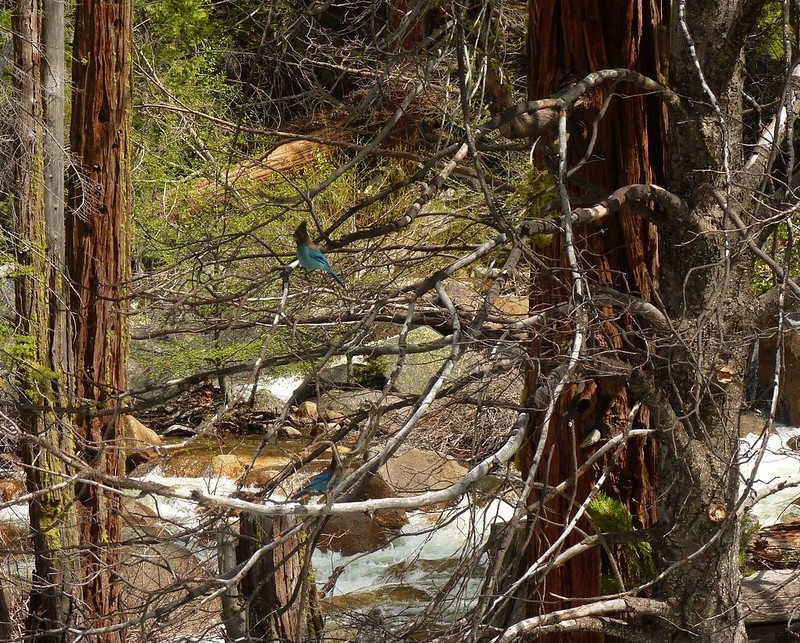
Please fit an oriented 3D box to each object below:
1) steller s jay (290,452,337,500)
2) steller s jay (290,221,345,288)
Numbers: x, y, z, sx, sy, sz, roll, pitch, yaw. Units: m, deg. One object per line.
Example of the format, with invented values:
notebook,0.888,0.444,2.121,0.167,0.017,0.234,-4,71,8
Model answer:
steller s jay,-0.504,0.959,7.444,0.357,0.334,0.109,-14,29,-19
steller s jay,-0.569,-0.479,8.205,0.252,0.433,0.447,-5,-4,9
